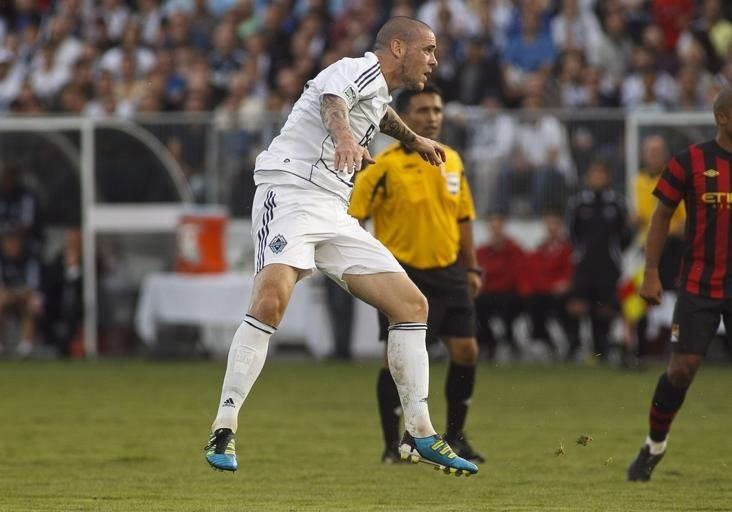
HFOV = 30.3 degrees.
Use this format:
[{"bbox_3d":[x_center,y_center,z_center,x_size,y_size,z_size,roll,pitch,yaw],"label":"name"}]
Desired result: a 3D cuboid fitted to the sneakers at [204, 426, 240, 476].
[{"bbox_3d":[-1.171,1.579,10.865,0.228,0.390,0.264,-2,6,-10],"label":"sneakers"}]
